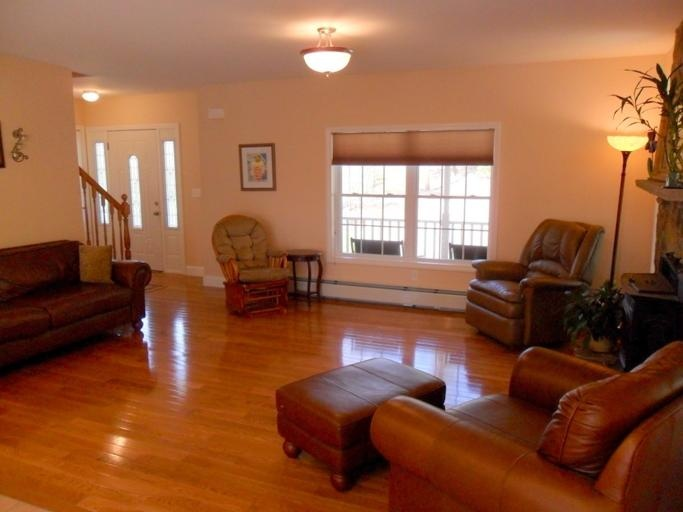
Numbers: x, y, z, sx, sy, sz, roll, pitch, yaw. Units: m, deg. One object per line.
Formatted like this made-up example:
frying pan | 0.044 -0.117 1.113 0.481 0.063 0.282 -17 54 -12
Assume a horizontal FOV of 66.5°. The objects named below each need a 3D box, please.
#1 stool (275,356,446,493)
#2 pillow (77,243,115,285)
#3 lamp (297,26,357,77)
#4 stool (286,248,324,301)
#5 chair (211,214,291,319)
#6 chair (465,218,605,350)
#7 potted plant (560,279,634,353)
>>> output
stool | 0.176 1.081 3.610 1.069 0.529 0.723 -9 13 -41
pillow | -2.631 0.109 5.571 0.357 0.384 0.151 -8 -16 -8
lamp | -0.131 -1.875 4.809 0.447 0.362 0.461 6 10 39
stool | -0.483 0.270 6.851 0.541 0.631 0.534 -7 8 -7
chair | -1.122 0.098 6.580 1.114 1.127 0.952 7 11 27
chair | 1.988 0.260 5.460 1.170 1.248 1.123 0 8 -3
potted plant | 2.301 0.578 4.887 0.633 0.627 0.635 3 6 39
